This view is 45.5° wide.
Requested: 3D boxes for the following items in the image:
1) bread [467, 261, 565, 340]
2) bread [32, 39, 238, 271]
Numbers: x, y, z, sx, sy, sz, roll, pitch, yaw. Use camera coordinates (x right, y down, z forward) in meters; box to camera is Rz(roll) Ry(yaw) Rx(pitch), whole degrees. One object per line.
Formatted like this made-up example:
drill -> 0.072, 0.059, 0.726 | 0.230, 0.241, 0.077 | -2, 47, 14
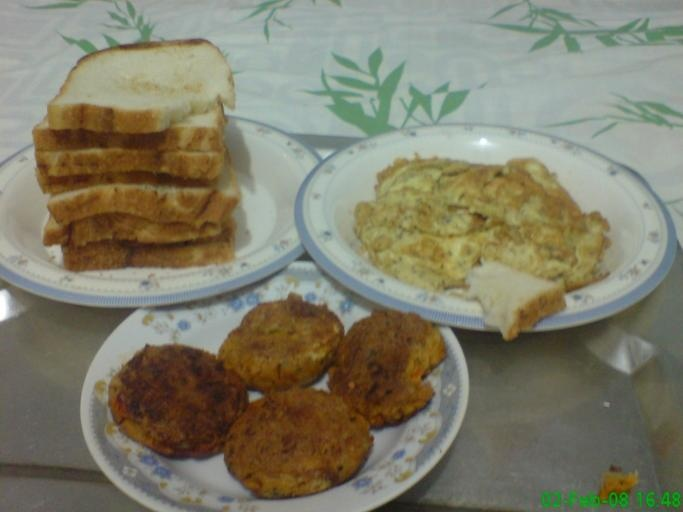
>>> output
bread -> 0.320, 0.079, 1.488 | 0.129, 0.038, 0.141 | -11, 48, 0
bread -> -0.412, -0.203, 1.649 | 0.403, 0.307, 0.364 | -6, 58, -2
